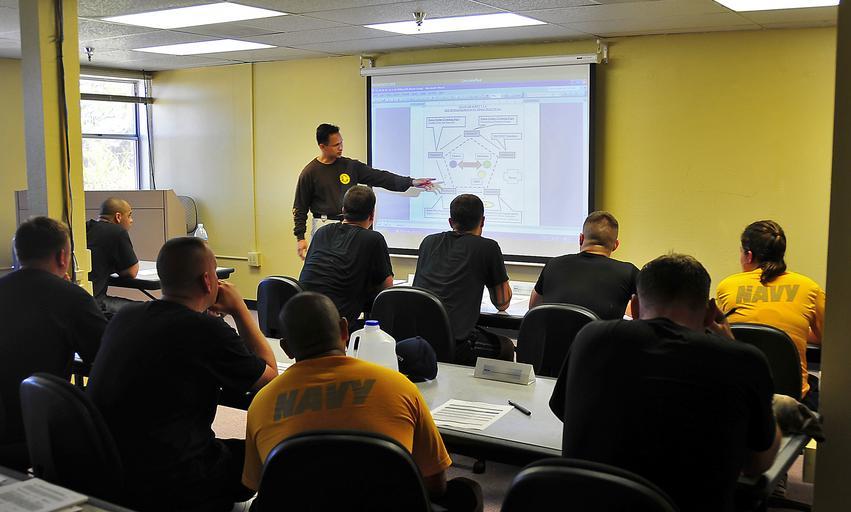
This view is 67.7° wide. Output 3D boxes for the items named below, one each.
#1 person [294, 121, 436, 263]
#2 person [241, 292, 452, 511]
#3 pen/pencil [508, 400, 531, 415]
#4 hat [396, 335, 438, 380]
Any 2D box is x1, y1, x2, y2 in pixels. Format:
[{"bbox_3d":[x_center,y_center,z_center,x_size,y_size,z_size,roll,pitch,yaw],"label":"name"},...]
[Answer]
[{"bbox_3d":[-0.575,-0.263,6.434,1.478,1.987,0.635,5,24,2],"label":"person"},{"bbox_3d":[-0.305,0.562,2.406,0.801,0.794,0.432,2,6,2],"label":"person"},{"bbox_3d":[0.425,0.689,2.890,0.031,0.021,0.131,7,8,-34],"label":"pen/pencil"},{"bbox_3d":[-0.021,0.518,3.233,0.160,0.142,0.246,19,8,31],"label":"hat"}]
